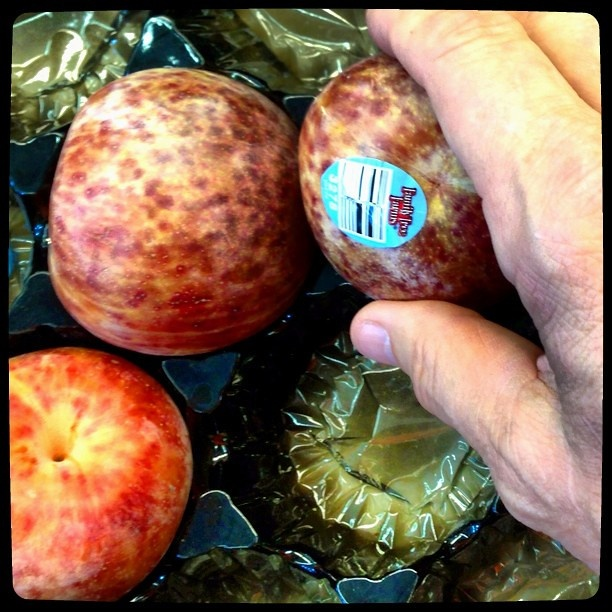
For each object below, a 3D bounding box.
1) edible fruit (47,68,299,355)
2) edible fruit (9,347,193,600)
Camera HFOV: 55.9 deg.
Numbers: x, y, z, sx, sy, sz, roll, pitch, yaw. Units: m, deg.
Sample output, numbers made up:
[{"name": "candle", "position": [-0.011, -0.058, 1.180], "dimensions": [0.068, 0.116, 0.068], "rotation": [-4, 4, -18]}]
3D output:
[{"name": "edible fruit", "position": [-0.115, -0.115, 0.650], "dimensions": [0.326, 0.259, 0.289], "rotation": [3, 22, 3]}, {"name": "edible fruit", "position": [-0.190, 0.150, 0.623], "dimensions": [0.255, 0.211, 0.125], "rotation": [6, -6, 20]}]
